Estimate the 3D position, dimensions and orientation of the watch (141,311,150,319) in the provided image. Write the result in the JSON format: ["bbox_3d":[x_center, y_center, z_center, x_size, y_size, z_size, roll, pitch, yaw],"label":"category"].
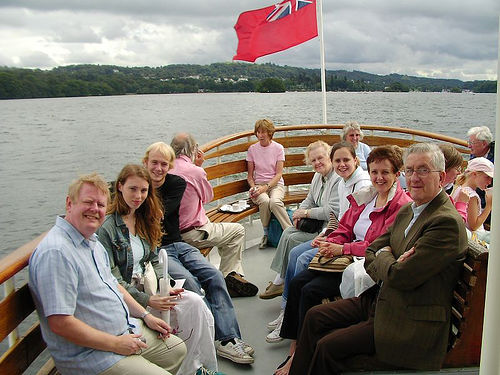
[{"bbox_3d":[-0.781,0.940,2.584,0.045,0.013,0.045,-12,7,21],"label":"watch"}]

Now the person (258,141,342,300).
[{"bbox_3d":[0.705,0.446,4.461,1.115,1.973,0.854,-5,12,-16],"label":"person"}]

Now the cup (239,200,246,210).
[{"bbox_3d":[-0.115,0.270,5.475,0.129,0.121,0.095,-2,9,2],"label":"cup"}]

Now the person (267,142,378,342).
[{"bbox_3d":[0.634,0.356,4.085,1.108,1.830,0.648,12,15,-20],"label":"person"}]

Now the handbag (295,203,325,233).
[{"bbox_3d":[0.718,0.389,4.242,0.235,0.235,0.173,3,-8,-13],"label":"handbag"}]

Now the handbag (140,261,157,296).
[{"bbox_3d":[-0.840,0.830,2.945,0.086,0.161,0.243,8,-33,-15],"label":"handbag"}]

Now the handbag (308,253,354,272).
[{"bbox_3d":[0.737,0.707,3.231,0.397,0.143,0.158,1,13,19],"label":"handbag"}]

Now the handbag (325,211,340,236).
[{"bbox_3d":[0.887,0.399,3.865,0.191,0.084,0.212,23,59,27],"label":"handbag"}]

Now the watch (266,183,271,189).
[{"bbox_3d":[0.289,-0.028,5.743,0.078,0.086,0.087,4,12,11],"label":"watch"}]
